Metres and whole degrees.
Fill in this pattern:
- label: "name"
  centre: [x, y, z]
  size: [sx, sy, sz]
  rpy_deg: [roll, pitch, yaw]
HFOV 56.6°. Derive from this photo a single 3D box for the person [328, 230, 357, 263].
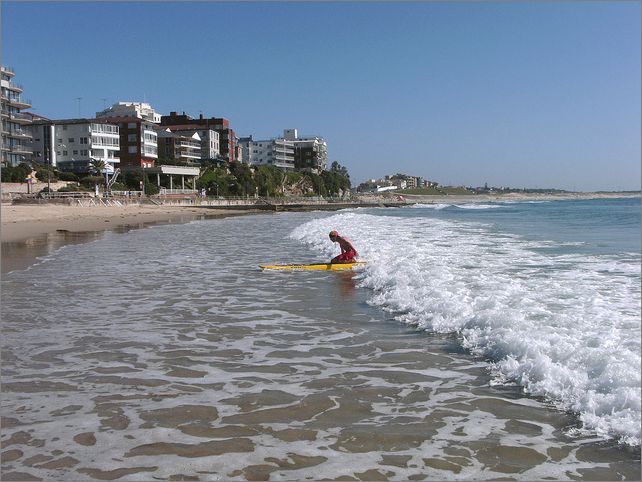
- label: "person"
  centre: [0.660, 0.215, 16.237]
  size: [0.734, 0.727, 1.372]
  rpy_deg: [-1, 12, 2]
